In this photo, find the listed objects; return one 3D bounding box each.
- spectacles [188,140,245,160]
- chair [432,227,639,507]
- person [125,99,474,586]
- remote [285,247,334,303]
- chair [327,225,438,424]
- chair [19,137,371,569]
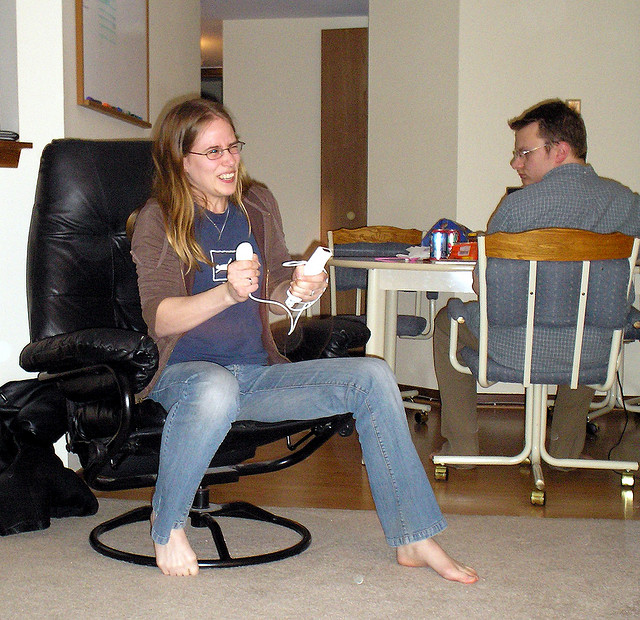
[{"bbox_3d":[-0.252,-0.387,1.517,0.120,0.048,0.037,-1,3,-26],"label":"spectacles"},{"bbox_3d":[0.653,0.161,2.278,0.863,1.108,0.803,0,3,3],"label":"chair"},{"bbox_3d":[-0.127,0.060,1.582,0.692,1.151,0.593,-1,3,-18],"label":"person"},{"bbox_3d":[-0.028,-0.083,1.458,0.100,0.129,0.165,0,3,-2],"label":"remote"},{"bbox_3d":[0.251,0.098,3.217,0.604,0.998,0.539,4,25,24],"label":"chair"},{"bbox_3d":[-0.354,0.084,1.611,0.748,1.125,0.564,-1,3,-26],"label":"chair"}]
